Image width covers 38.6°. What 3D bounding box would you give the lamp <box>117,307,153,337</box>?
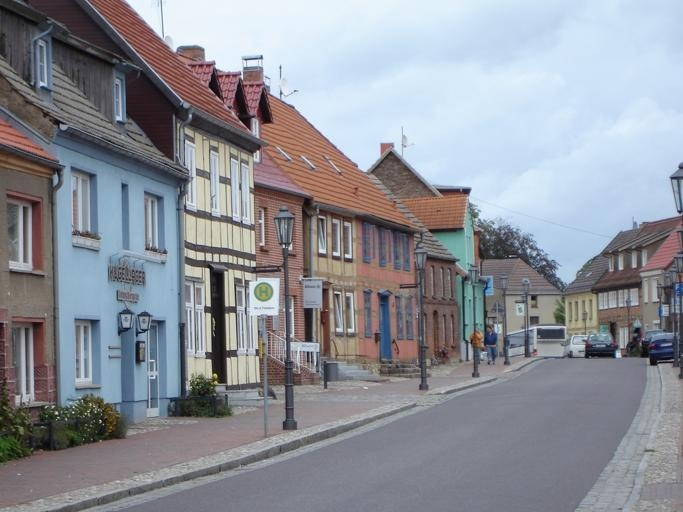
[{"bbox_3d":[-5.245,1.677,24.702,0.610,0.480,0.595,-6,-7,22],"label":"lamp"}]

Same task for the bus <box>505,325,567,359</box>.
[{"bbox_3d":[16.645,7.240,83.259,4.166,3.151,4.568,-1,-4,6],"label":"bus"}]

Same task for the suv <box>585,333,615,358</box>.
[{"bbox_3d":[16.486,5.706,62.646,1.898,1.502,1.521,-9,-12,15],"label":"suv"}]

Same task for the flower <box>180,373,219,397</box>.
[{"bbox_3d":[-3.889,3.627,27.225,0.601,0.553,0.700,0,-1,22],"label":"flower"}]
